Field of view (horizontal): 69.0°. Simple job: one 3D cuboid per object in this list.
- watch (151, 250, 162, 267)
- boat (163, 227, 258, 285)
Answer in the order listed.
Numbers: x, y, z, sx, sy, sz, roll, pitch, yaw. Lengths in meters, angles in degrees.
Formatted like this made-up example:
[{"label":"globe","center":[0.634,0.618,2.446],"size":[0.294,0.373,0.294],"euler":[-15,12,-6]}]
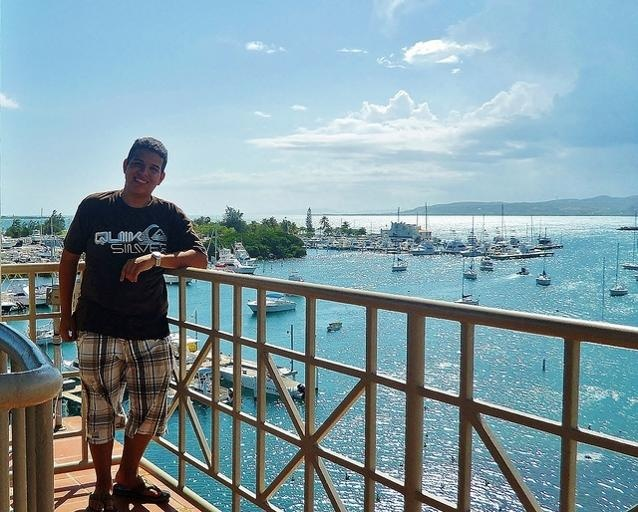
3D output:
[{"label":"watch","center":[-0.829,0.017,2.372],"size":[0.044,0.072,0.071],"euler":[9,42,-16]},{"label":"boat","center":[-12.554,2.352,62.541],"size":[7.003,8.463,9.632],"euler":[-2,5,-40]}]
